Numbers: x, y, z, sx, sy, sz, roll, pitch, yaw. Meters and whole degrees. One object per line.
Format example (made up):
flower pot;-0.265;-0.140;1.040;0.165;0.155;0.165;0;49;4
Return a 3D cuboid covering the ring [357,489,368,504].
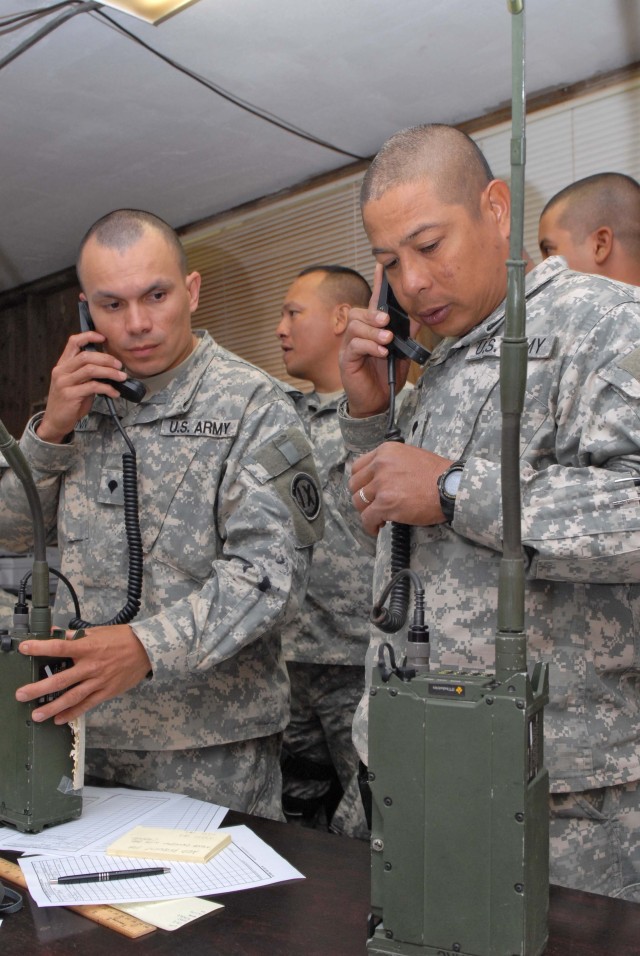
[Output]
ring;0.067;0.030;1.509;0.009;0.016;0.021;-33;-40;-6

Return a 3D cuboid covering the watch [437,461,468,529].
watch;0.191;0.021;1.386;0.036;0.091;0.059;-2;-2;-13
